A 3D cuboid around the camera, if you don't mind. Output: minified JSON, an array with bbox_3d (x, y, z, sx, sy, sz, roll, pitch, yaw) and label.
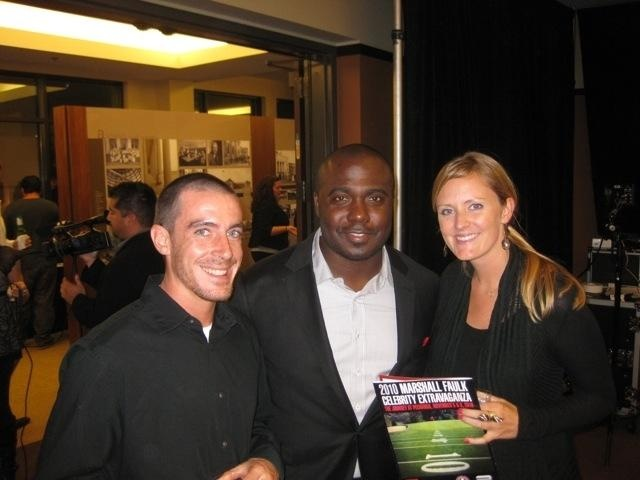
[{"bbox_3d":[-1.781,-0.025,3.807,0.481,0.292,0.206,-10,15,-21],"label":"camera"}]

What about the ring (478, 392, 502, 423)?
[{"bbox_3d":[0.683,0.685,2.080,0.094,0.093,0.033,-1,-18,-18],"label":"ring"}]
